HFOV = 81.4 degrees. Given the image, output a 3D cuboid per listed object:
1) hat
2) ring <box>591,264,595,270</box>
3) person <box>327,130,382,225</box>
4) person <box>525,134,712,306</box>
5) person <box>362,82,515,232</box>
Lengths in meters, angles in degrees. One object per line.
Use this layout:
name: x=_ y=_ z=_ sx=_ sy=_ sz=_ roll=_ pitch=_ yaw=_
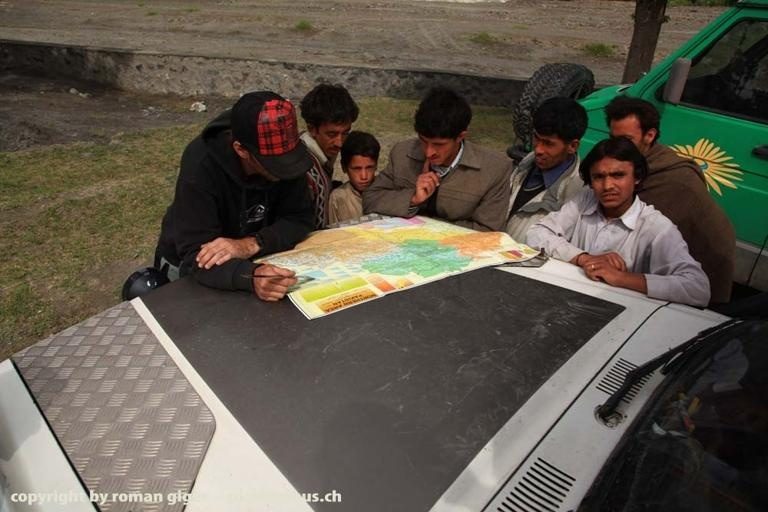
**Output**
hat: x=-0.546 y=-0.563 z=2.237 sx=0.478 sy=0.248 sz=0.311 roll=43 pitch=57 yaw=10
ring: x=1.013 y=0.054 z=2.168 sx=0.022 sy=0.005 sz=0.021 roll=1 pitch=59 yaw=-1
person: x=-0.186 y=-0.542 z=3.582 sx=0.541 sy=0.895 sz=0.367 roll=-6 pitch=33 yaw=-12
person: x=1.361 y=-0.201 z=2.587 sx=0.714 sy=1.082 sz=0.822 roll=-33 pitch=27 yaw=-23
person: x=0.380 y=-0.460 z=3.341 sx=1.083 sy=1.419 sz=0.711 roll=3 pitch=31 yaw=6
